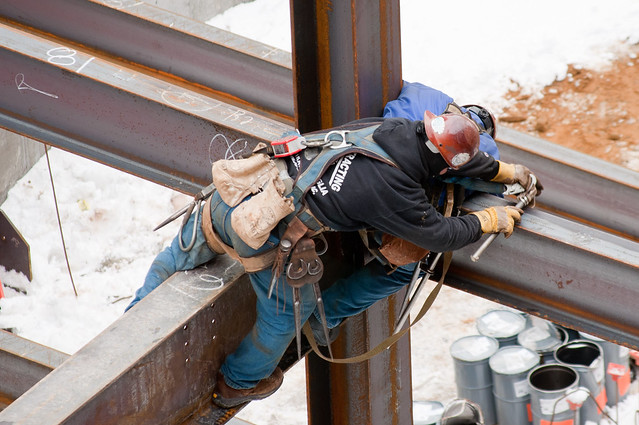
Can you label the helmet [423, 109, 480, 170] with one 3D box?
[{"bbox_3d":[1.391,-0.760,10.060,0.615,0.443,0.318,42,-29,-22],"label":"helmet"}]
